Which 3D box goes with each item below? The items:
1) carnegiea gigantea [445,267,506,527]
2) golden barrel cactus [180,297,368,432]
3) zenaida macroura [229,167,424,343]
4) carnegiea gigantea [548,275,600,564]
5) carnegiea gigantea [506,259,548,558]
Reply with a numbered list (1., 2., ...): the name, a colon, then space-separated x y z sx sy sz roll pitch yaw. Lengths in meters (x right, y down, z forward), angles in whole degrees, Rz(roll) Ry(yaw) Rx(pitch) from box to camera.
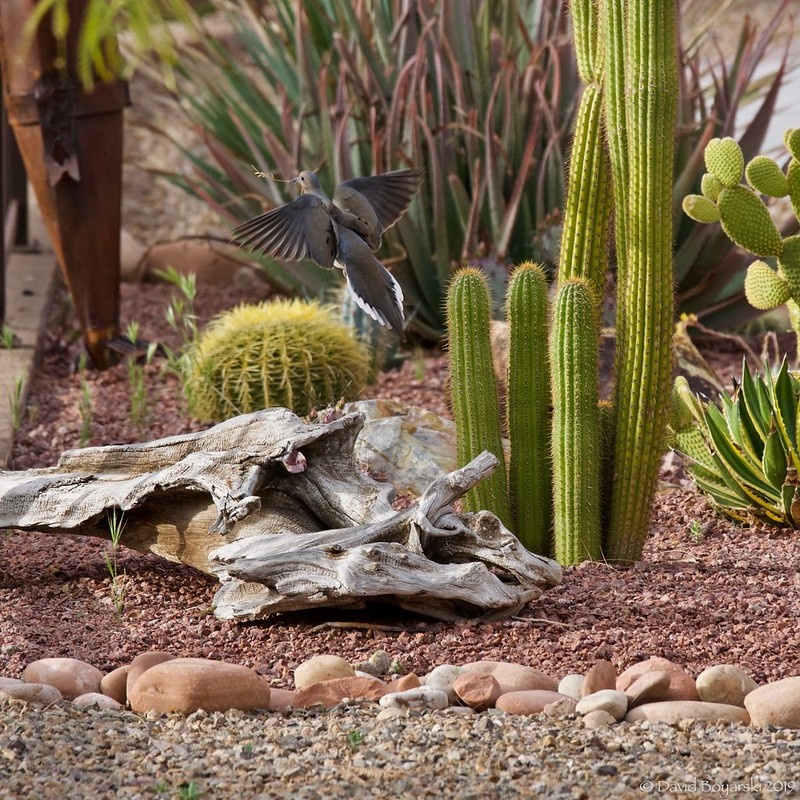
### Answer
1. carnegiea gigantea: 0.245 -0.004 4.881 0.160 0.784 0.202 -5 13 -18
2. golden barrel cactus: -0.508 -0.118 6.169 0.532 0.553 0.531 3 -10 -39
3. zenaida macroura: -0.136 -0.489 4.863 0.502 0.304 0.667 24 39 22
4. carnegiea gigantea: 0.535 0.079 4.740 0.146 0.848 0.147 1 13 8
5. carnegiea gigantea: 0.404 0.036 4.909 0.134 0.901 0.139 0 13 3
